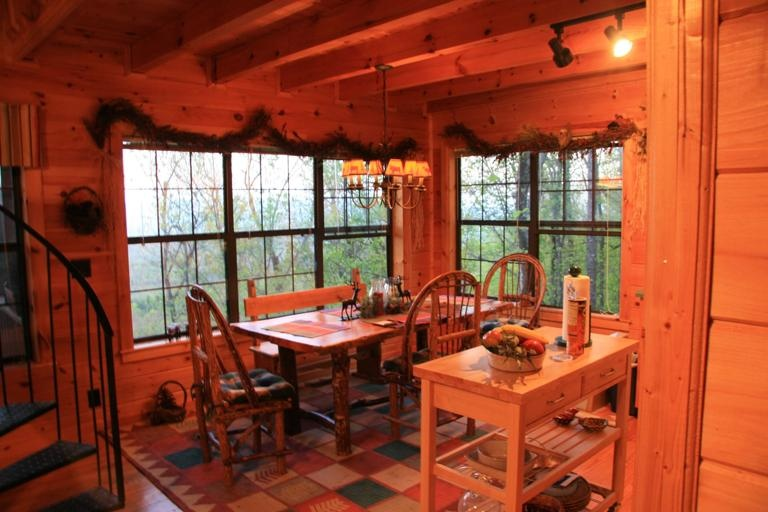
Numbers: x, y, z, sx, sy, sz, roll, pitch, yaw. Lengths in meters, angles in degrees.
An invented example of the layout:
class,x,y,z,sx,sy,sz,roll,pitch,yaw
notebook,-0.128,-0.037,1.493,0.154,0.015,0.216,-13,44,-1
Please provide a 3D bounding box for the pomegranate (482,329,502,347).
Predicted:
class,x,y,z,sx,sy,sz,roll,pitch,yaw
pomegranate,0.580,0.436,3.096,0.091,0.079,0.085,-37,51,-18

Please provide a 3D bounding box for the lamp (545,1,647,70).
class,x,y,z,sx,sy,sz,roll,pitch,yaw
lamp,1.642,-1.713,4.544,0.638,0.419,0.849,2,12,15

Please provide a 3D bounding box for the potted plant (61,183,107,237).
class,x,y,z,sx,sy,sz,roll,pitch,yaw
potted plant,-2.565,-0.398,4.952,0.341,0.369,0.163,-24,13,-33

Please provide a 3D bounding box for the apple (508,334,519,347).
class,x,y,z,sx,sy,sz,roll,pitch,yaw
apple,0.678,0.448,3.033,0.059,0.048,0.090,3,12,17

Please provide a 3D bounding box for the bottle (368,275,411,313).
class,x,y,z,sx,sy,sz,roll,pitch,yaw
bottle,0.047,0.355,5.439,0.362,0.240,0.321,1,4,45

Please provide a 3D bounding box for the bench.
class,x,y,z,sx,sy,sz,roll,pitch,yaw
bench,-0.697,0.671,5.304,0.471,0.772,1.286,5,9,40

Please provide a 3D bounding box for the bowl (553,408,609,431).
class,x,y,z,sx,sy,sz,roll,pitch,yaw
bowl,1.234,1.016,3.569,0.179,0.042,0.177,0,5,0

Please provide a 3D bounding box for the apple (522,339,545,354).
class,x,y,z,sx,sy,sz,roll,pitch,yaw
apple,0.782,0.474,3.020,0.081,0.074,0.079,-11,-7,12

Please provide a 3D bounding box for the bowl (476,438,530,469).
class,x,y,z,sx,sy,sz,roll,pitch,yaw
bowl,0.608,1.081,3.153,0.205,0.071,0.193,0,-1,0
